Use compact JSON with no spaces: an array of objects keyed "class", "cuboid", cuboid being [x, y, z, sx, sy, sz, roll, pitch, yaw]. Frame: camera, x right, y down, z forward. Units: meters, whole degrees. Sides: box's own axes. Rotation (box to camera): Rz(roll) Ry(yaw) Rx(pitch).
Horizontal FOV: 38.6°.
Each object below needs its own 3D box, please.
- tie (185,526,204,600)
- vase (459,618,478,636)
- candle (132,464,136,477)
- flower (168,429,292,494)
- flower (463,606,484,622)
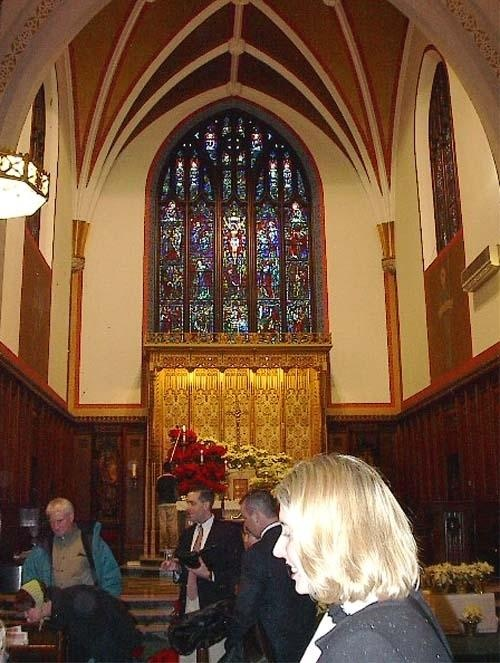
[{"class":"tie","cuboid":[-0.342,1.455,4.370,0.088,0.317,0.235,1,-4,-13]},{"class":"vase","cuboid":[2.056,2.790,6.706,0.138,0.100,0.145,-6,-25,21]},{"class":"candle","cuboid":[-2.289,2.760,14.137,0.090,0.284,0.265,0,-14,-9]},{"class":"flower","cuboid":[-0.156,1.648,8.526,1.549,0.740,1.472,2,-7,-5]},{"class":"flower","cuboid":[2.083,2.653,6.691,0.153,0.153,0.156,-2,-18,-11]}]
